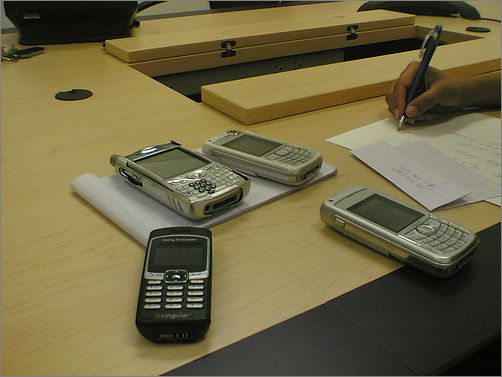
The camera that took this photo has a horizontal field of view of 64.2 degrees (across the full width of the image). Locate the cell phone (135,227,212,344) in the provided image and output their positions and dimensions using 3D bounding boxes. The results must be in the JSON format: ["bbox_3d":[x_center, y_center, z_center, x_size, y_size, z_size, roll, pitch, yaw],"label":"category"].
[{"bbox_3d":[-0.086,0.109,0.466,0.089,0.036,0.128,1,35,-1],"label":"cell phone"}]

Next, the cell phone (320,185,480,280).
[{"bbox_3d":[0.186,0.060,0.559,0.198,0.037,0.097,19,40,29],"label":"cell phone"}]

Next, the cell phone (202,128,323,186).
[{"bbox_3d":[0.008,-0.055,0.691,0.206,0.035,0.088,13,32,21],"label":"cell phone"}]

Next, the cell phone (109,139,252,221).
[{"bbox_3d":[-0.112,-0.024,0.629,0.111,0.032,0.179,-34,53,-29],"label":"cell phone"}]
